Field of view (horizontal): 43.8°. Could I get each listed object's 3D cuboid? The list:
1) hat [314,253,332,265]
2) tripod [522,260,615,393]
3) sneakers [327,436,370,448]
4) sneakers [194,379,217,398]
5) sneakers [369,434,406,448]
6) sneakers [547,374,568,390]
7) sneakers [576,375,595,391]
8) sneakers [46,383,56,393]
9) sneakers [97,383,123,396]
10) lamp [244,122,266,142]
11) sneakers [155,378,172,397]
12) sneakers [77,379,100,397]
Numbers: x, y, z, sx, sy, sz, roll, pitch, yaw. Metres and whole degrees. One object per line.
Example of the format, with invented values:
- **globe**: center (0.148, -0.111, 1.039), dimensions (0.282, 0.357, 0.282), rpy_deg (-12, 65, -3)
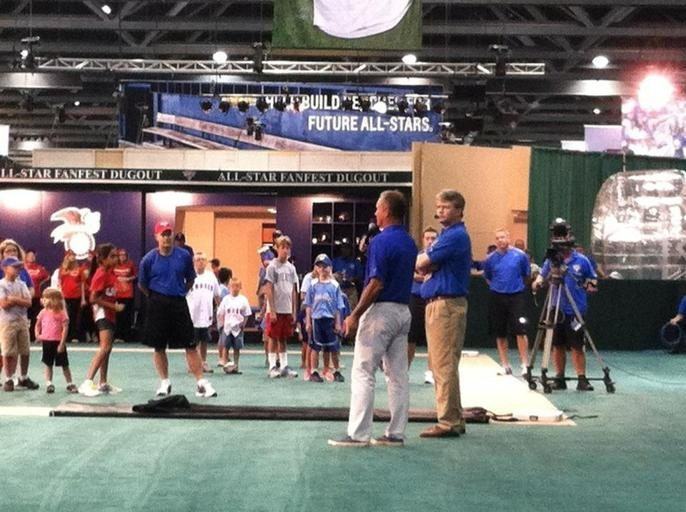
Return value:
- **hat**: center (-0.305, 0.048, 13.307), dimensions (0.164, 0.153, 0.249), rpy_deg (0, -16, 7)
- **tripod**: center (3.603, 1.157, 13.482), dimensions (1.303, 2.784, 1.280), rpy_deg (-4, 10, -4)
- **sneakers**: center (0.058, 1.995, 9.202), dimensions (0.460, 0.109, 0.152), rpy_deg (0, 2, 13)
- **sneakers**: center (-1.851, 1.778, 11.487), dimensions (0.313, 0.229, 0.172), rpy_deg (0, 1, -14)
- **sneakers**: center (0.499, 1.992, 9.271), dimensions (0.355, 0.165, 0.144), rpy_deg (5, -7, 2)
- **sneakers**: center (3.107, 1.826, 12.254), dimensions (0.368, 0.296, 0.143), rpy_deg (1, -3, 7)
- **sneakers**: center (3.425, 1.810, 12.144), dimensions (0.280, 0.308, 0.144), rpy_deg (-1, 1, -4)
- **sneakers**: center (-3.998, 1.819, 11.712), dimensions (0.113, 0.138, 0.117), rpy_deg (1, 1, -9)
- **sneakers**: center (-3.189, 1.825, 11.676), dimensions (0.310, 0.166, 0.131), rpy_deg (3, 6, -17)
- **lamp**: center (-2.062, -2.914, 20.149), dimensions (0.385, 0.421, 0.418), rpy_deg (2, 8, 6)
- **sneakers**: center (-2.429, 1.770, 11.597), dimensions (0.121, 0.168, 0.350), rpy_deg (2, 4, -4)
- **sneakers**: center (-3.452, 1.782, 11.541), dimensions (0.376, 0.210, 0.156), rpy_deg (3, 6, 16)
